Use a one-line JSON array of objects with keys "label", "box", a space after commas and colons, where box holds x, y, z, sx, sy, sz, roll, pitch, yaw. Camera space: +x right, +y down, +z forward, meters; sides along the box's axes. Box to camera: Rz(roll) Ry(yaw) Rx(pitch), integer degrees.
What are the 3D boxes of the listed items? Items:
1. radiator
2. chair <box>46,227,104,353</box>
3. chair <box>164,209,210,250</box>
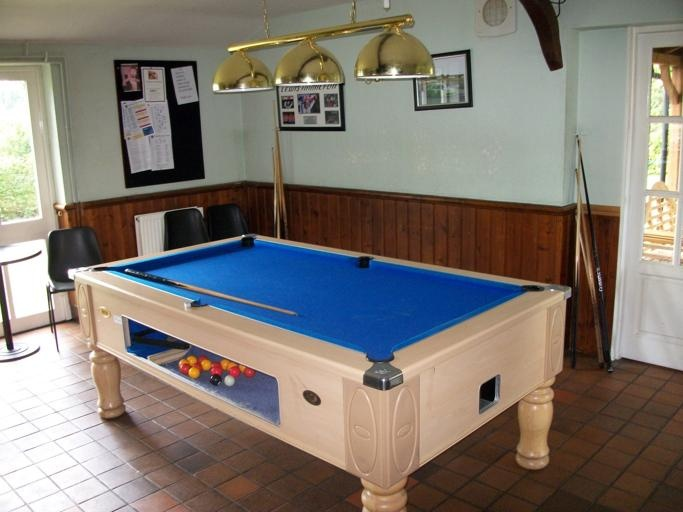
[{"label": "radiator", "box": [-1.995, -0.276, 5.943, 0.599, 0.629, 0.723, 16, 19, 38]}, {"label": "chair", "box": [-2.678, 0.369, 5.145, 0.667, 1.284, 0.683, 2, 17, -29]}, {"label": "chair", "box": [-1.657, -0.361, 5.668, 0.448, 0.646, 0.472, -12, 19, -37]}]
